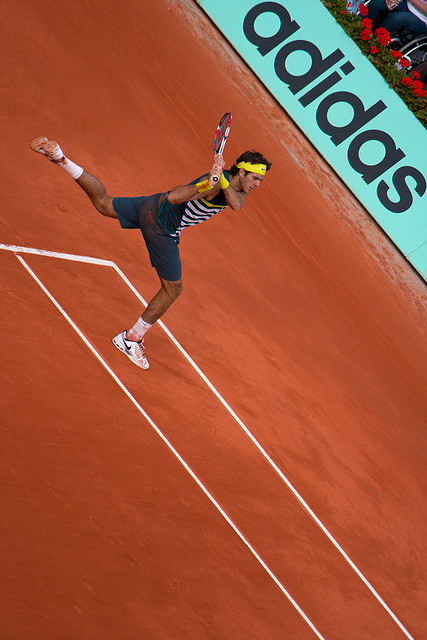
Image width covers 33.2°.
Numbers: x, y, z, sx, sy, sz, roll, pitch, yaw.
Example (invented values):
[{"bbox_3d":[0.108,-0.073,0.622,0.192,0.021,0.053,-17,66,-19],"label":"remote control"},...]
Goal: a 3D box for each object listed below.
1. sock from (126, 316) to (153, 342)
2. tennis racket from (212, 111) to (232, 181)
[{"bbox_3d":[-0.756,0.113,7.183,0.165,0.274,0.145,45,17,-4],"label":"sock"},{"bbox_3d":[0.117,-1.498,6.207,0.072,0.593,0.186,1,12,-16],"label":"tennis racket"}]
